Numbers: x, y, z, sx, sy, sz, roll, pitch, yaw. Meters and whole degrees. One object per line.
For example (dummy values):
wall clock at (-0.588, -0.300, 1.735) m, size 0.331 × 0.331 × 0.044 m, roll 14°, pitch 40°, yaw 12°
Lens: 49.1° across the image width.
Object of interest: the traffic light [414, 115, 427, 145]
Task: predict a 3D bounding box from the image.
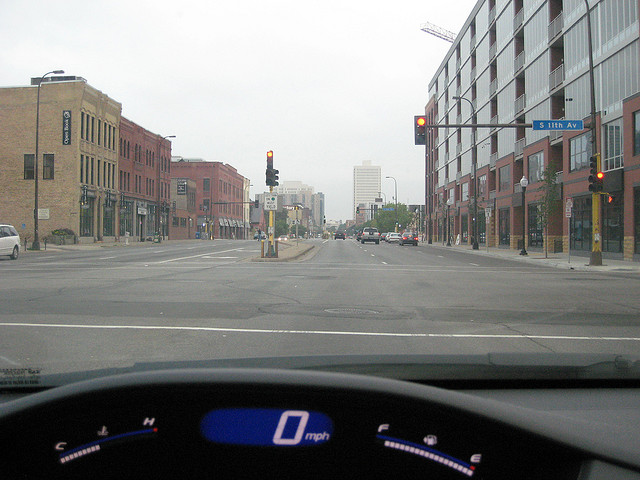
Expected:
traffic light at (3.564, -3.838, 24.893) m, size 0.398 × 1.075 × 1.683 m, roll 3°, pitch -2°, yaw 6°

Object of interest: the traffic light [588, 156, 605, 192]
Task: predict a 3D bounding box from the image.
traffic light at (9.958, -2.379, 25.296) m, size 0.428 × 1.289 × 0.923 m, roll 3°, pitch -2°, yaw 21°

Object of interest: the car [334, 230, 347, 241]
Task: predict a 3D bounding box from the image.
car at (3.051, -0.549, 108.420) m, size 1.235 × 1.065 × 2.942 m, roll 1°, pitch 4°, yaw 5°

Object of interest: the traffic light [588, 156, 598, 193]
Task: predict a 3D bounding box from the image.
traffic light at (9.873, -2.380, 25.257) m, size 0.295 × 1.304 × 0.786 m, roll 3°, pitch -2°, yaw 21°

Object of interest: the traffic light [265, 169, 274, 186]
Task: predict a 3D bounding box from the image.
traffic light at (-2.031, -2.530, 28.643) m, size 0.295 × 0.503 × 0.569 m, roll 4°, pitch -2°, yaw -2°
